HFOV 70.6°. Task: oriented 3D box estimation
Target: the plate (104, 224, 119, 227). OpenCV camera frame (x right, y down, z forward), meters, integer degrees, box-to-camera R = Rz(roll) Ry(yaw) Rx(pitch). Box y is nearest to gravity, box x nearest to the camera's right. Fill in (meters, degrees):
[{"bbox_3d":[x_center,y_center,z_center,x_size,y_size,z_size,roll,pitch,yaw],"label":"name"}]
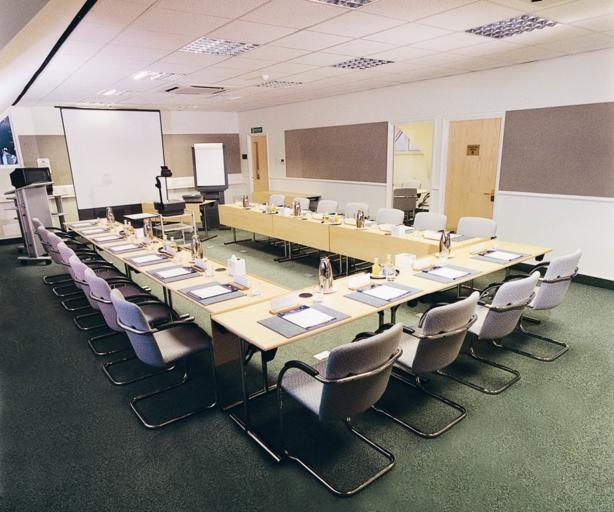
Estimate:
[{"bbox_3d":[-3.049,-0.491,6.817,0.132,0.028,0.120,-6,11,-44],"label":"plate"}]
